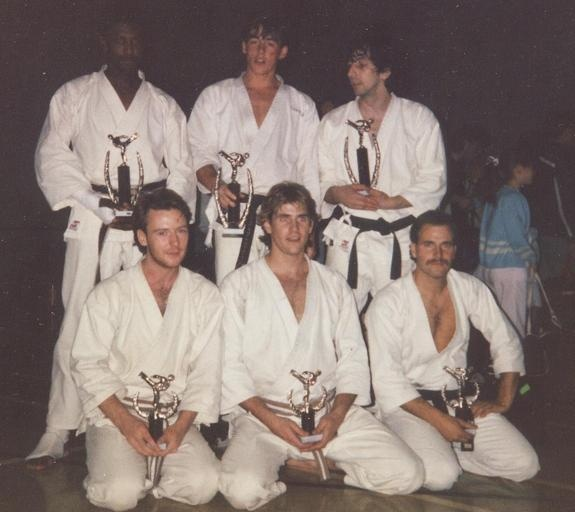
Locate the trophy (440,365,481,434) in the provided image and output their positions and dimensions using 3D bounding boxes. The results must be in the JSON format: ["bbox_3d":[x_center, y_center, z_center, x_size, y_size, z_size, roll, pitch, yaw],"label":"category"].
[{"bbox_3d":[0.955,0.770,3.900,0.201,0.323,0.098,-7,-8,4],"label":"trophy"}]

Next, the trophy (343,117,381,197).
[{"bbox_3d":[0.464,-0.604,4.437,0.173,0.494,0.217,12,13,29],"label":"trophy"}]

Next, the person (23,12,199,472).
[{"bbox_3d":[-1.099,-0.089,4.341,1.042,2.398,1.015,0,9,-14],"label":"person"}]

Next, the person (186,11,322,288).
[{"bbox_3d":[-0.197,-0.735,4.554,0.711,1.747,0.727,-1,15,-17],"label":"person"}]

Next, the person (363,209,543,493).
[{"bbox_3d":[0.873,0.582,3.917,0.788,1.596,0.918,5,10,-4],"label":"person"}]

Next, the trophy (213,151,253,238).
[{"bbox_3d":[-0.335,-0.380,4.311,0.235,0.503,0.268,-2,14,-13],"label":"trophy"}]
